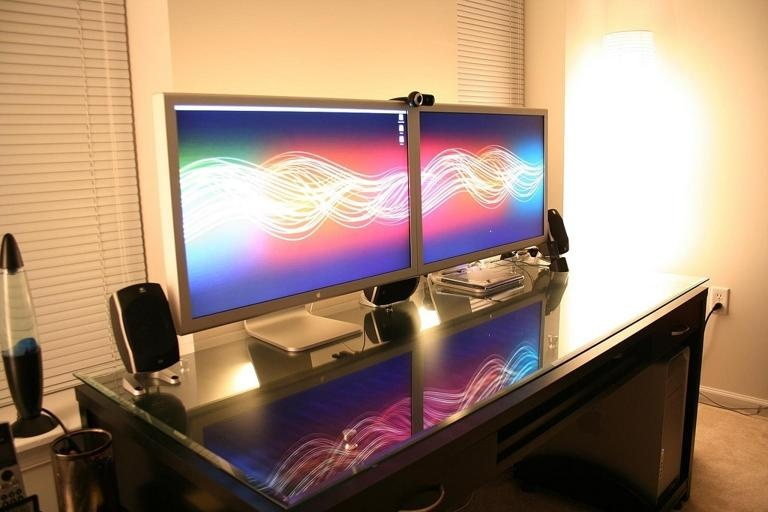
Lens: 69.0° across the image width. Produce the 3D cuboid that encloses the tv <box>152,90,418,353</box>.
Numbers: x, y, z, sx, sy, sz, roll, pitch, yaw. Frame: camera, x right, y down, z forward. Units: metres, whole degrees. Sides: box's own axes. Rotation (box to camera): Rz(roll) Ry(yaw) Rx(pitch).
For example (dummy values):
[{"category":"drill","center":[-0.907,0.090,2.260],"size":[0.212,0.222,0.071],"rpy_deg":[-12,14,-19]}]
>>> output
[{"category":"tv","center":[-0.308,-0.111,1.756],"size":[0.867,0.696,0.247],"rpy_deg":[-10,14,-42]}]

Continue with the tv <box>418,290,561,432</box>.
[{"category":"tv","center":[0.322,0.327,1.688],"size":[0.482,0.262,0.012],"rpy_deg":[-16,25,-40]}]

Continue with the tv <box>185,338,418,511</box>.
[{"category":"tv","center":[-0.146,0.430,1.451],"size":[0.562,0.080,0.409],"rpy_deg":[-15,19,-38]}]

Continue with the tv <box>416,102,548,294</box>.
[{"category":"tv","center":[0.380,-0.240,2.231],"size":[0.798,0.550,0.041],"rpy_deg":[-14,20,-40]}]
